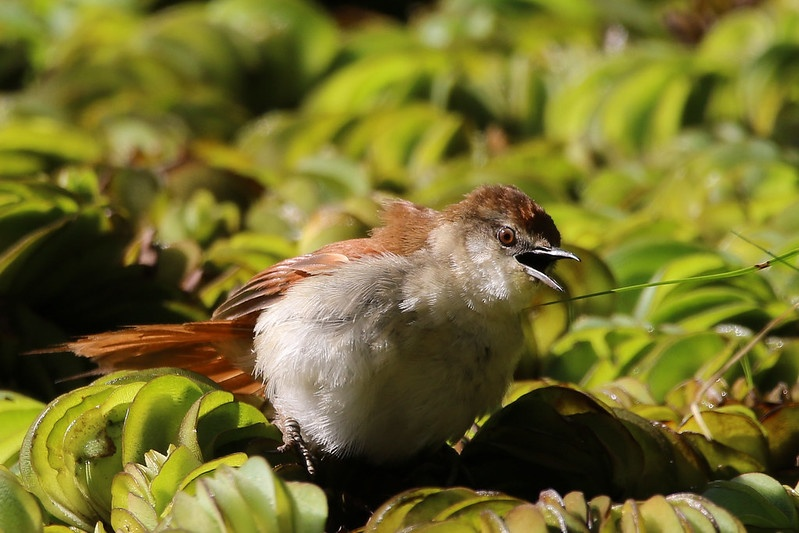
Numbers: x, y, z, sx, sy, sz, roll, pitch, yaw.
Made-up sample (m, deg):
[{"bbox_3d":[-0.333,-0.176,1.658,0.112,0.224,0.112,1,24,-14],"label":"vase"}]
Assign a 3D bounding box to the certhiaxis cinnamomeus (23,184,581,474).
[{"bbox_3d":[-0.105,0.103,1.477,0.893,0.295,0.399,1,83,27],"label":"certhiaxis cinnamomeus"}]
